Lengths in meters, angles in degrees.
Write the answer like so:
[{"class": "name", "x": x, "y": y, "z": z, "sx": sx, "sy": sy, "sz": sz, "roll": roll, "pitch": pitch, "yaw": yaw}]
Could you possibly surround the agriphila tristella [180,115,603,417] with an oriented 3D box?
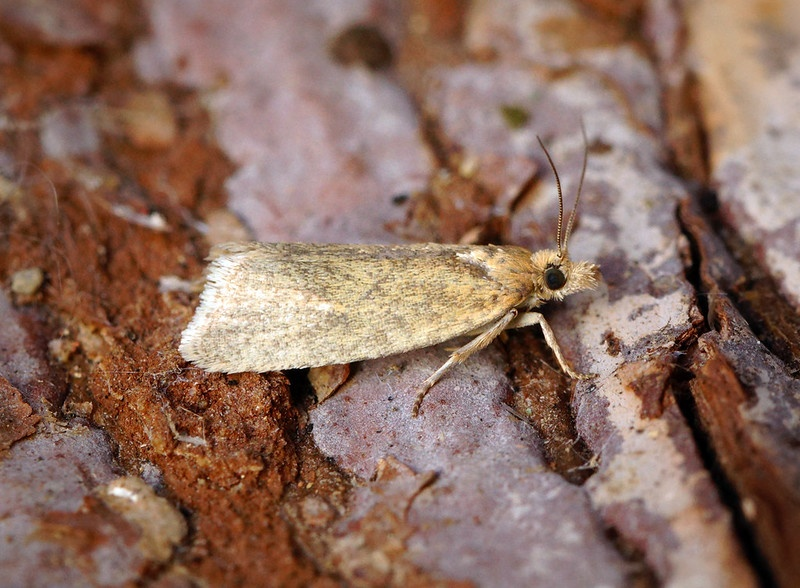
[{"class": "agriphila tristella", "x": -0.123, "y": 0.079, "z": 4.876, "sx": 2.239, "sy": 0.458, "sz": 0.803, "roll": 1, "pitch": 83, "yaw": -2}]
